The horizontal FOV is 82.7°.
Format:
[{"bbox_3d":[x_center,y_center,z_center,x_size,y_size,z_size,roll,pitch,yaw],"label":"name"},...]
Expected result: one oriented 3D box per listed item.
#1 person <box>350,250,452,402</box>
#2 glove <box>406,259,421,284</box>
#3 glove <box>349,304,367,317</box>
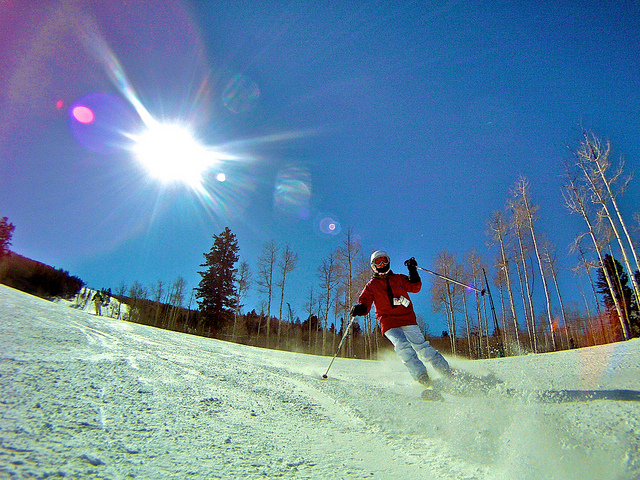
[{"bbox_3d":[1.196,1.026,5.366,1.025,2.314,0.769,-22,-46,2],"label":"person"},{"bbox_3d":[1.475,0.467,5.788,0.194,0.400,0.398,-1,-11,12],"label":"glove"},{"bbox_3d":[0.586,1.070,5.642,0.153,0.118,0.230,-19,0,-38],"label":"glove"}]
